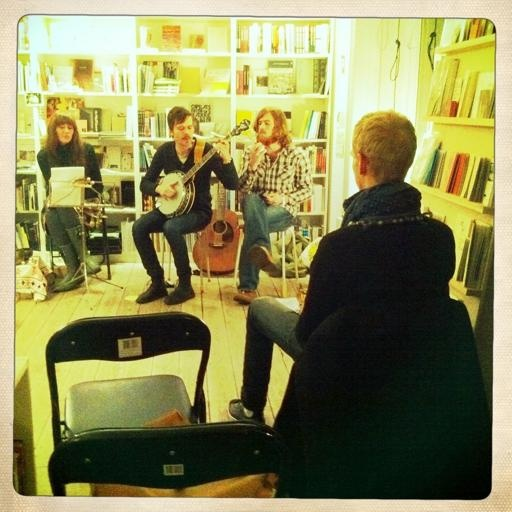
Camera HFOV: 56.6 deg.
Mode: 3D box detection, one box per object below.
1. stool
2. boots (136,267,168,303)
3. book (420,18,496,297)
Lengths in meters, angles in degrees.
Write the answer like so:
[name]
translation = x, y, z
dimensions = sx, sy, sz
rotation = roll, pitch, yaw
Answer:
[stool]
translation = 0.083, 0.012, 1.317
dimensions = 0.113, 0.180, 0.165
rotation = 0, -6, -4
[boots]
translation = -0.279, 0.095, 1.332
dimensions = 0.102, 0.110, 0.051
rotation = -2, 3, -9
[book]
translation = 0.478, -0.233, 1.137
dimensions = 0.193, 0.598, 0.202
rotation = 7, 18, 22
